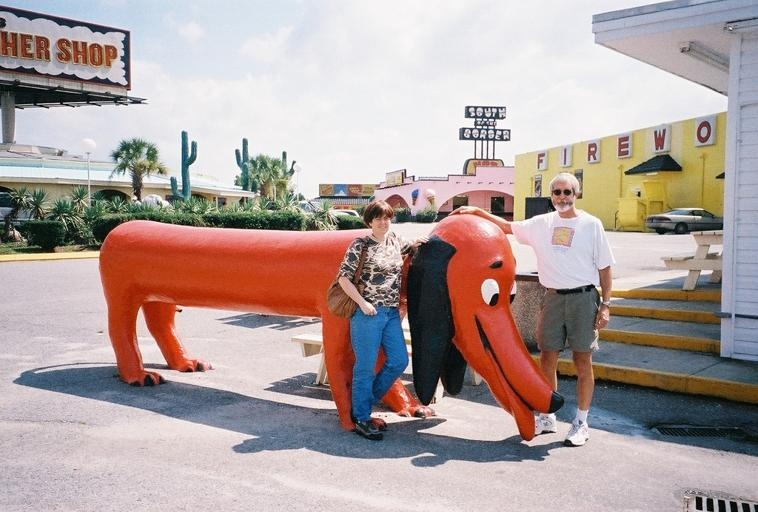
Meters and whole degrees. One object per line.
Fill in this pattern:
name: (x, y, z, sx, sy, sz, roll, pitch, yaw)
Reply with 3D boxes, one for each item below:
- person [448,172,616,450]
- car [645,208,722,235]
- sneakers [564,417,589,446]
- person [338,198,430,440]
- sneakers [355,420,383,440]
person: (1.748, 0.485, 5.640, 1.004, 2.568, 0.596, 3, 9, 19)
car: (13.623, -1.528, 25.365, 2.801, 1.127, 1.435, 3, 9, 17)
sneakers: (1.896, 1.716, 5.472, 0.140, 0.146, 0.330, -3, -5, 28)
person: (-0.031, 0.615, 5.534, 0.767, 2.272, 0.445, -1, 8, -10)
sneakers: (-0.110, 1.691, 5.586, 0.287, 0.131, 0.132, 6, 6, 39)
